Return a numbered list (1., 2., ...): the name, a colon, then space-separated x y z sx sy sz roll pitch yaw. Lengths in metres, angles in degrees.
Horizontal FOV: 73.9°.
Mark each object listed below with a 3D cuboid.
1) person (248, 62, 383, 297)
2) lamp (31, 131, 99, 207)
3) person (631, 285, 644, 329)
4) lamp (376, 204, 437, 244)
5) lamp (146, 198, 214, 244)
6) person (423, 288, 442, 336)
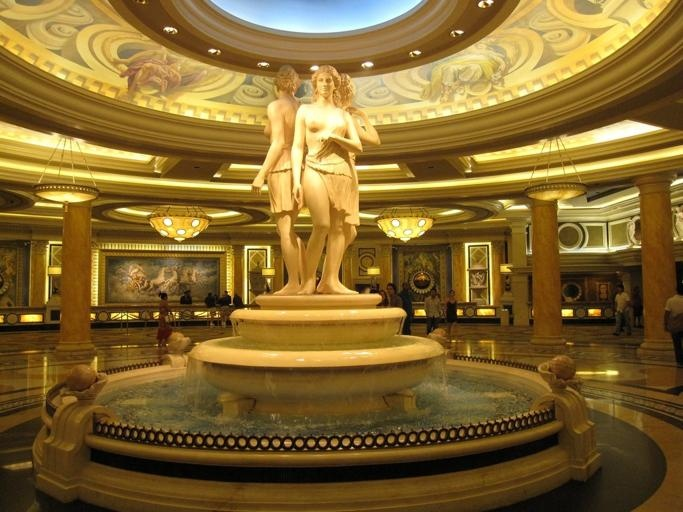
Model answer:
1. person: -0.222 -0.786 4.772 0.944 2.370 0.565 6 -1 -1
2. lamp: -5.574 -1.874 9.303 1.099 1.542 1.082 -1 -5 9
3. person: 11.194 1.947 17.360 0.393 1.372 1.842 6 0 33
4. lamp: 2.334 -1.060 16.108 2.115 1.059 2.008 -1 -2 25
5. lamp: -5.272 -1.096 14.770 1.669 0.866 1.521 2 1 12
6. person: 2.426 1.540 12.426 0.407 1.169 0.999 6 -1 10
